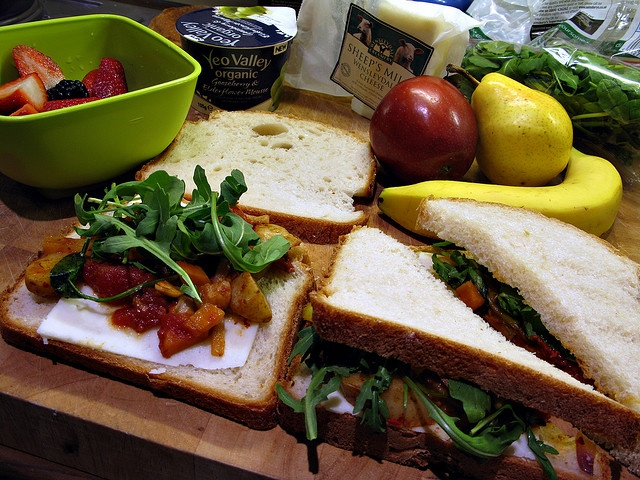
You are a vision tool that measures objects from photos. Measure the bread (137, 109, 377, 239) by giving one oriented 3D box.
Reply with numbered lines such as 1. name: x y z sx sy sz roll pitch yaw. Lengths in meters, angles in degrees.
1. bread: -0.273 -0.415 2.806 1.028 0.176 0.733 18 49 5
